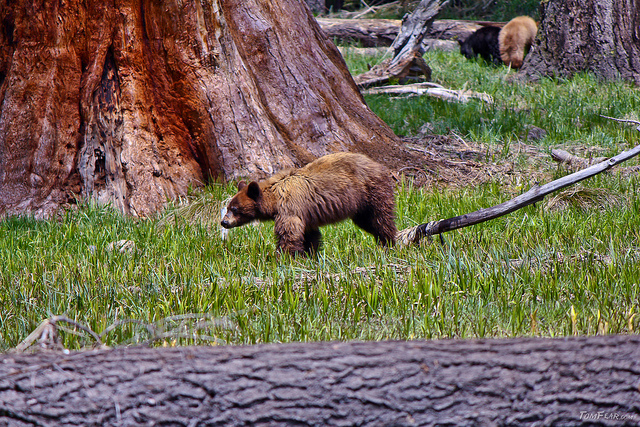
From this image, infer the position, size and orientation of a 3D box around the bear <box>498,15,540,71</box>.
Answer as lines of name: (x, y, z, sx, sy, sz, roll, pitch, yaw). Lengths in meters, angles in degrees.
bear: (3.935, -3.416, 19.177, 0.651, 0.829, 1.458, 3, 20, 16)

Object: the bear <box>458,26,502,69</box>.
bear: (3.355, -3.440, 19.641, 0.439, 0.933, 1.367, -9, 8, -27)
